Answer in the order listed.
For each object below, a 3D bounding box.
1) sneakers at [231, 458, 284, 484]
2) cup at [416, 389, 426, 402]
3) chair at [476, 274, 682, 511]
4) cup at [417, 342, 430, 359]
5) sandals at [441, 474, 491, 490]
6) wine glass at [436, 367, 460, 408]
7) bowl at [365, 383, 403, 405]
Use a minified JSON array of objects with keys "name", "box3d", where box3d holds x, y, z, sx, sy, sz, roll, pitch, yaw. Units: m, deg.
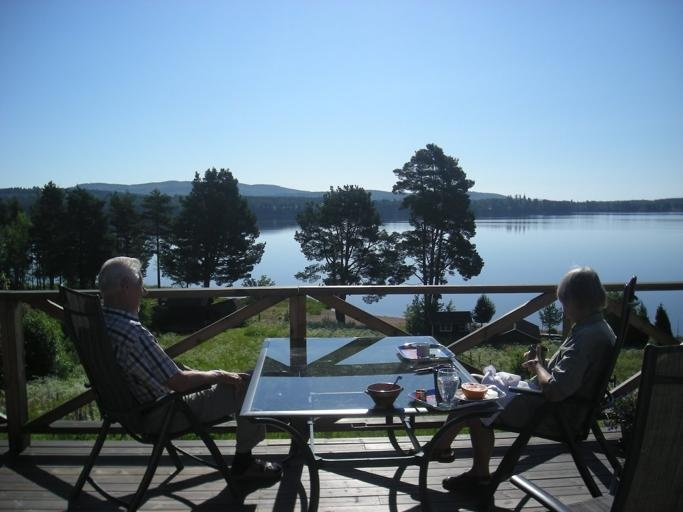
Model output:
[{"name":"sneakers","box3d":[-0.742,1.843,5.770,0.385,0.190,0.212,1,3,-3]},{"name":"cup","box3d":[0.631,1.098,5.295,0.064,0.079,0.067,-1,10,0]},{"name":"chair","box3d":[1.832,1.146,5.421,1.402,1.879,0.888,-3,4,-11]},{"name":"cup","box3d":[0.716,0.824,5.863,0.105,0.108,0.103,-2,-8,0]},{"name":"sandals","box3d":[1.049,1.914,5.665,0.383,0.162,0.150,1,-12,7]},{"name":"wine glass","box3d":[0.845,1.011,5.312,0.184,0.272,0.272,-1,4,8]},{"name":"bowl","box3d":[0.341,1.088,5.291,0.280,0.140,0.199,-2,4,4]}]
